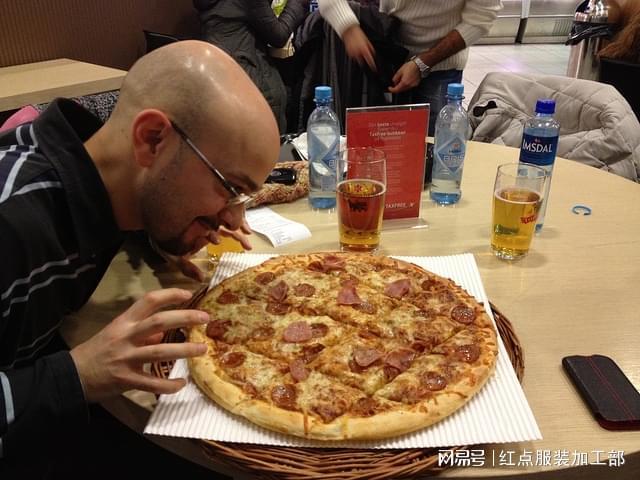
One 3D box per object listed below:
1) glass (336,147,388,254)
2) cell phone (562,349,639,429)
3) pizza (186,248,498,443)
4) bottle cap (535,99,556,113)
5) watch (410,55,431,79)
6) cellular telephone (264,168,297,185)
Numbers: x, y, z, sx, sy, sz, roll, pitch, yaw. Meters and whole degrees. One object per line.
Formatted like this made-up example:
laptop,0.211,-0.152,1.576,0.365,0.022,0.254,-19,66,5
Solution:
glass,0.127,-0.126,1.374,0.126,0.311,0.146,1,29,4
cell phone,0.611,0.315,0.971,0.108,0.033,0.175,-4,42,-1
pizza,0.043,0.209,1.106,0.740,0.096,0.607,11,44,16
bottle cap,0.690,-0.410,1.385,0.051,0.040,0.056,3,21,6
watch,0.581,-1.002,2.618,0.062,0.111,0.109,-27,8,1
cellular telephone,-0.149,-0.235,1.683,0.087,0.024,0.072,2,42,-1
